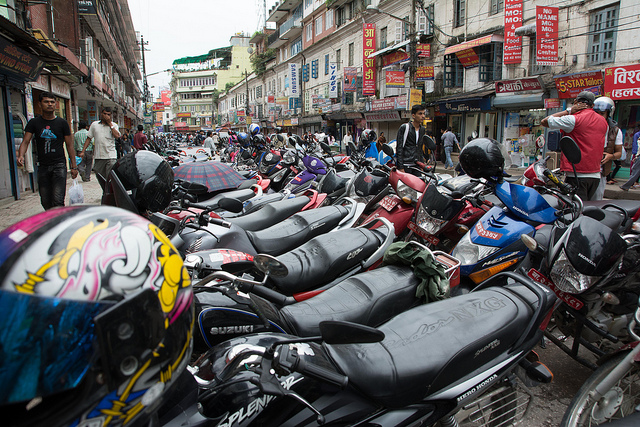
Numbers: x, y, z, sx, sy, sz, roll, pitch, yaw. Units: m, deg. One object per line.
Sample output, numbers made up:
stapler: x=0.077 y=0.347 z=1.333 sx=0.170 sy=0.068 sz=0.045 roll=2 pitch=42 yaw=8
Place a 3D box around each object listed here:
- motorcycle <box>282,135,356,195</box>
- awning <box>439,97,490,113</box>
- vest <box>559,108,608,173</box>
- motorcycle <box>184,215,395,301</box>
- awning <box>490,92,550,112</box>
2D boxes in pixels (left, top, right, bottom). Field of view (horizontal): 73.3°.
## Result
motorcycle: x=-0.074 y=-0.771 z=6.936 sx=1.132 sy=0.813 sz=0.751 roll=0 pitch=13 yaw=-9
awning: x=6.418 y=-4.829 z=19.225 sx=0.291 sy=0.682 sz=3.040 roll=-8 pitch=17 yaw=-20
vest: x=3.336 y=-0.864 z=5.478 sx=0.703 sy=0.845 sz=0.449 roll=2 pitch=4 yaw=-15
motorcycle: x=-0.163 y=0.303 z=3.463 sx=1.458 sy=0.796 sz=0.651 roll=-5 pitch=51 yaw=-29
awning: x=7.654 y=-4.268 z=16.649 sx=0.758 sy=0.771 sz=2.625 roll=-5 pitch=16 yaw=-11
